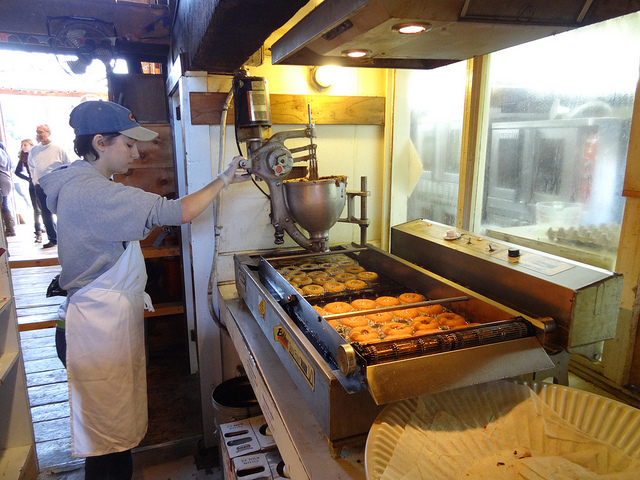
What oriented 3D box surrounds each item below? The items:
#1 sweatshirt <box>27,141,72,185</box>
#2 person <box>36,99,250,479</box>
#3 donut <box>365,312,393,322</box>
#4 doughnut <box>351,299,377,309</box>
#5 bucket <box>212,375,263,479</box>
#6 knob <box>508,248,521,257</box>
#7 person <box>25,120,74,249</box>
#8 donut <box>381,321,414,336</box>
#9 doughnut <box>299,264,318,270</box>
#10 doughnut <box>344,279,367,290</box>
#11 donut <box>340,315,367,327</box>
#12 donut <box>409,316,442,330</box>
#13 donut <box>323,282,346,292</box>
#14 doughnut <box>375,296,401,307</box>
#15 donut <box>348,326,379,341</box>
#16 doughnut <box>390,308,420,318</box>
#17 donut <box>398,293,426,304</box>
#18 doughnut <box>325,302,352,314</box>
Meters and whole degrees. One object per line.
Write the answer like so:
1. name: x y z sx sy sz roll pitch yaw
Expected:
1. sweatshirt: -3.279 -0.884 5.504 0.683 0.570 0.317 4 8 14
2. person: -0.961 0.318 2.359 0.867 2.019 0.421 -6 14 -14
3. donut: 0.250 0.323 1.888 0.114 0.024 0.061 -4 13 -9
4. doughnut: 0.197 0.286 2.014 0.117 0.013 0.092 -3 13 -5
5. bucket: -0.468 1.061 2.567 0.248 0.494 0.419 -6 14 -15
6. knob: 0.854 0.055 1.990 0.046 0.022 0.032 -5 13 -10
7. person: -3.351 -0.652 5.533 0.610 1.469 0.414 -2 1 -2
8. donut: 0.312 0.353 1.820 0.130 0.020 0.162 -1 13 6
9. doughnut: -0.059 0.147 2.449 0.092 0.012 0.074 -2 13 -2
10. doughnut: 0.174 0.220 2.211 0.110 0.018 0.087 -1 13 3
11. donut: 0.138 0.339 1.863 0.113 0.024 0.091 -1 13 2
12. donut: 0.428 0.342 1.856 0.120 0.016 0.105 -4 13 -10
13. donut: 0.069 0.227 2.186 0.108 0.019 0.097 0 13 7
14. doughnut: 0.305 0.275 2.029 0.111 0.016 0.108 -8 14 -26
15. donut: 0.167 0.363 1.766 0.106 0.015 0.125 -4 13 -8
16. doughnut: 0.352 0.307 1.903 0.060 0.020 0.059 -1 2 -37
17. donut: 0.414 0.263 2.055 0.118 0.014 0.112 1 13 12
18. doughnut: 0.081 0.297 1.981 0.119 0.014 0.118 -2 13 1
